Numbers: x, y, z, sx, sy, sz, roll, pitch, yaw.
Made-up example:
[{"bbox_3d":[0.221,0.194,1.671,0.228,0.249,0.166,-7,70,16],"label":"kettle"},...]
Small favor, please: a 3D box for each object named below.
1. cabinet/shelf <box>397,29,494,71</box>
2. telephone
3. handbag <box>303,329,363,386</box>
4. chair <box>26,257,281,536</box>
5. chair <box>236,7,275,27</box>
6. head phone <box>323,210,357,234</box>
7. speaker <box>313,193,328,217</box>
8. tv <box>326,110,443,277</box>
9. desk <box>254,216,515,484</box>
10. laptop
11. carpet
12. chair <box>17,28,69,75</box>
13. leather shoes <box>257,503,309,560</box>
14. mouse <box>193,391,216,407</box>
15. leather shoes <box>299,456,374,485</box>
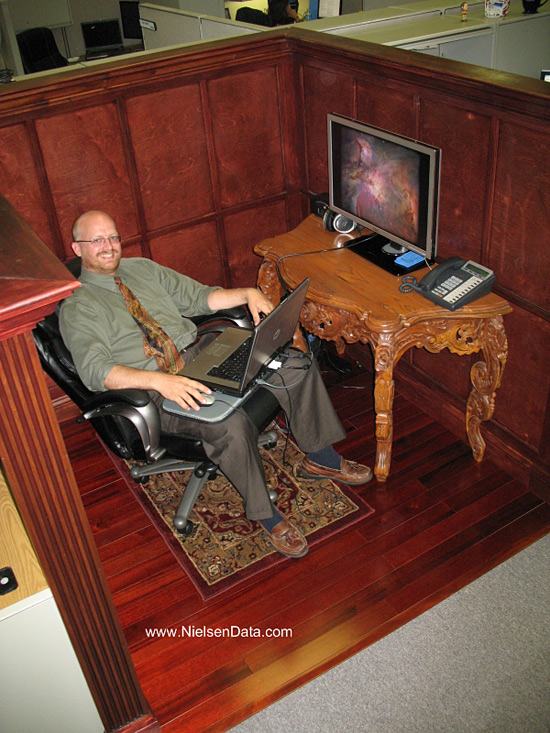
[{"bbox_3d":[0.877,-1.557,2.752,0.702,0.179,0.117,-30,36,-35],"label":"cabinet/shelf"},{"bbox_3d":[0.659,-0.307,2.020,0.228,0.089,0.229,-31,41,-20],"label":"telephone"},{"bbox_3d":[0.284,-0.106,3.023,0.324,0.378,0.260,1,46,15],"label":"handbag"},{"bbox_3d":[-0.376,0.102,2.095,0.693,0.804,0.608,-3,26,27],"label":"chair"},{"bbox_3d":[-0.219,-3.423,5.419,0.186,0.184,0.457,-22,32,-23],"label":"chair"},{"bbox_3d":[0.287,-0.656,2.516,0.143,0.100,0.051,29,25,10],"label":"head phone"},{"bbox_3d":[0.221,-0.778,2.647,0.093,0.120,0.047,6,8,37],"label":"speaker"},{"bbox_3d":[0.436,-0.678,2.161,0.220,0.527,0.625,-30,51,-15],"label":"tv"},{"bbox_3d":[0.412,-0.080,2.525,0.668,0.708,1.196,-15,30,-21],"label":"desk"},{"bbox_3d":[-0.152,-0.095,2.043,0.332,0.438,0.442,30,40,13],"label":"laptop"},{"bbox_3d":[-0.160,0.566,2.091,0.491,0.007,0.665,-21,40,-25],"label":"carpet"},{"bbox_3d":[-2.484,-3.355,5.855,0.518,0.409,0.394,-26,34,-28],"label":"chair"},{"bbox_3d":[0.000,0.584,2.090,0.112,0.079,0.277,-38,59,-10],"label":"leather shoes"},{"bbox_3d":[-0.243,0.113,1.892,0.064,0.022,0.051,-12,54,-7],"label":"mouse"},{"bbox_3d":[0.263,0.445,2.398,0.261,0.088,0.114,3,36,8],"label":"leather shoes"}]
